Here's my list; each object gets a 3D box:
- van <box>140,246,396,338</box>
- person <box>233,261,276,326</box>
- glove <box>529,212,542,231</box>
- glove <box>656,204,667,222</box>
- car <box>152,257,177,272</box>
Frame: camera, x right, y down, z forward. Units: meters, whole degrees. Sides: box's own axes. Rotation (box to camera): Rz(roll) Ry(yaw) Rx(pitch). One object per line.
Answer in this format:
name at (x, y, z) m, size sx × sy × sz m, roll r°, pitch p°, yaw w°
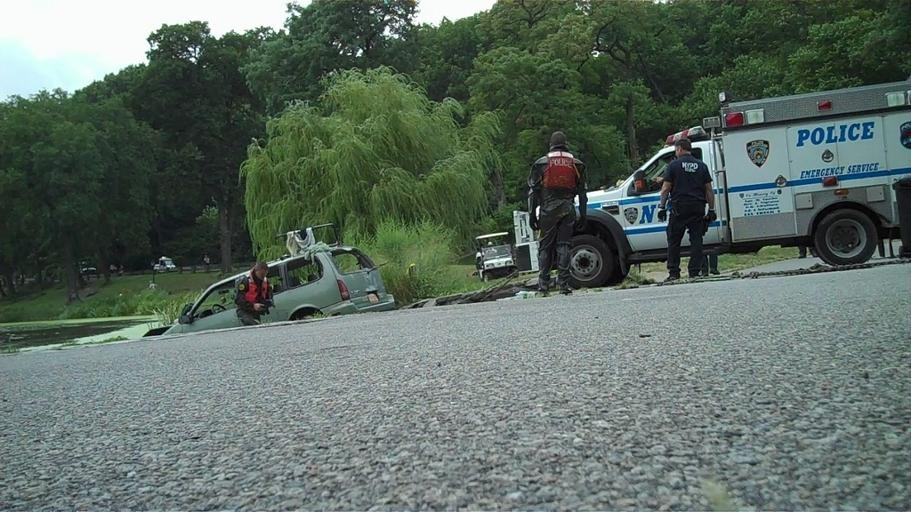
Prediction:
van at (-4.528, 0.915, 17.677) m, size 4.679 × 1.784 × 2.712 m, roll -2°, pitch -2°, yaw 9°
person at (-4.690, 0.858, 16.766) m, size 0.909 × 1.434 × 0.613 m, roll -10°, pitch 3°, yaw -34°
glove at (1.825, -0.803, 16.204) m, size 0.265 × 0.347 × 0.111 m, roll -17°, pitch 6°, yaw -37°
glove at (4.590, -0.983, 15.949) m, size 0.310 × 0.411 × 0.440 m, roll -3°, pitch -3°, yaw 14°
car at (-28.019, 0.809, 68.273) m, size 1.479 × 2.016 × 3.676 m, roll -1°, pitch 0°, yaw -45°
